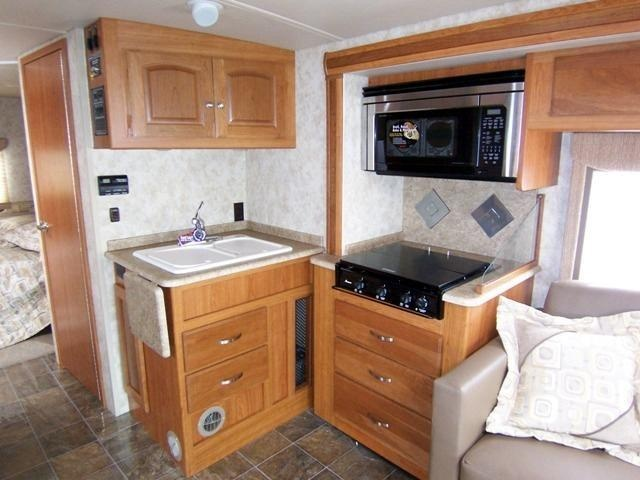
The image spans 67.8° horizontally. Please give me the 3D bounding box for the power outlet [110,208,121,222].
[{"bbox_3d":[-1.321,-0.165,3.063,0.057,0.094,0.065,22,25,36],"label":"power outlet"}]

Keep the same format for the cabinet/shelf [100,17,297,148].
[{"bbox_3d":[-0.770,-0.939,3.055,1.285,0.658,0.379,-11,21,-40],"label":"cabinet/shelf"}]

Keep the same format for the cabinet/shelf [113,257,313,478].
[{"bbox_3d":[-0.546,0.733,2.985,1.045,1.154,0.445,-8,16,-27],"label":"cabinet/shelf"}]

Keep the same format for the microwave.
[{"bbox_3d":[0.804,-0.635,2.885,0.586,0.555,0.973,-14,18,-41],"label":"microwave"}]

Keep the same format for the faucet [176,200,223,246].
[{"bbox_3d":[-0.836,-0.109,3.232,0.307,0.273,0.087,-11,25,-32],"label":"faucet"}]
